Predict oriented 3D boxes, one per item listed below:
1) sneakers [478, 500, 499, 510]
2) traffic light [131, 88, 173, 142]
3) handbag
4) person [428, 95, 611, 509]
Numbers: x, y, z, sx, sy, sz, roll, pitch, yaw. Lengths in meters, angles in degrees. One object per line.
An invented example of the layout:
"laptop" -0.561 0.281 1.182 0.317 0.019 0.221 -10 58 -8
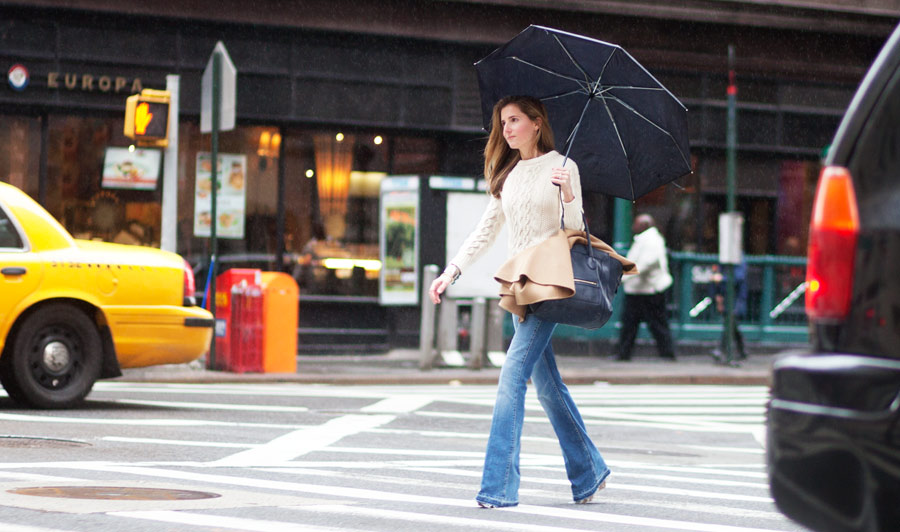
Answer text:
"sneakers" 0.316 1.996 10.257 0.160 0.073 0.070 1 2 9
"traffic light" -4.309 -2.103 17.574 0.655 0.781 0.609 3 -5 4
"handbag" 1.171 0.040 10.538 0.872 0.971 0.455 19 -17 -42
"person" 0.648 0.286 10.546 1.293 3.488 0.782 1 1 -3
